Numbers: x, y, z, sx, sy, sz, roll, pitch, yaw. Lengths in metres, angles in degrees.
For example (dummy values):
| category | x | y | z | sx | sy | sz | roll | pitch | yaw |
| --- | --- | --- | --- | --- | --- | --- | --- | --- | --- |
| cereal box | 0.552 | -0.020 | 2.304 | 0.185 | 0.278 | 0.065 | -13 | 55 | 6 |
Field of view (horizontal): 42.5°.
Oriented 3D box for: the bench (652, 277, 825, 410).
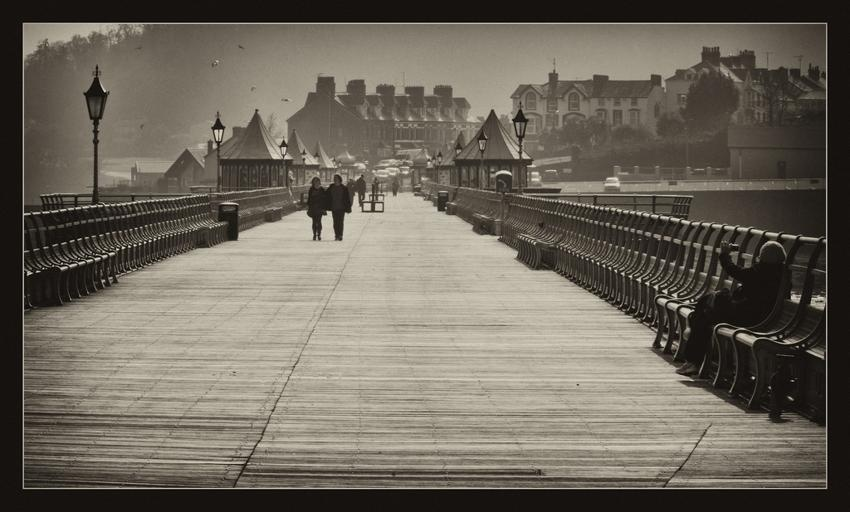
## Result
| category | x | y | z | sx | sy | sz | roll | pitch | yaw |
| --- | --- | --- | --- | --- | --- | --- | --- | --- | --- |
| bench | 3.568 | 0.661 | 11.808 | 1.104 | 1.463 | 1.852 | -1 | 11 | -12 |

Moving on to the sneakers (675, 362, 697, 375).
| category | x | y | z | sx | sy | sz | roll | pitch | yaw |
| --- | --- | --- | --- | --- | --- | --- | --- | --- | --- |
| sneakers | 2.945 | 1.278 | 12.442 | 0.277 | 0.115 | 0.098 | -3 | 2 | 8 |

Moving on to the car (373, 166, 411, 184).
| category | x | y | z | sx | sy | sz | roll | pitch | yaw |
| --- | --- | --- | --- | --- | --- | --- | --- | --- | --- |
| car | -4.295 | -10.310 | 135.500 | 5.166 | 1.452 | 3.066 | 3 | 5 | 16 |

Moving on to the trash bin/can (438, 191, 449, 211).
| category | x | y | z | sx | sy | sz | roll | pitch | yaw |
| --- | --- | --- | --- | --- | --- | --- | --- | --- | --- |
| trash bin/can | 0.831 | -2.688 | 53.730 | 0.425 | 0.969 | 1.057 | 1 | 10 | 6 |

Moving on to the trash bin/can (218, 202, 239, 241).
| category | x | y | z | sx | sy | sz | roll | pitch | yaw |
| --- | --- | --- | --- | --- | --- | --- | --- | --- | --- |
| trash bin/can | -5.498 | -0.984 | 30.367 | 0.727 | 1.002 | 0.730 | 1 | 0 | -38 |
